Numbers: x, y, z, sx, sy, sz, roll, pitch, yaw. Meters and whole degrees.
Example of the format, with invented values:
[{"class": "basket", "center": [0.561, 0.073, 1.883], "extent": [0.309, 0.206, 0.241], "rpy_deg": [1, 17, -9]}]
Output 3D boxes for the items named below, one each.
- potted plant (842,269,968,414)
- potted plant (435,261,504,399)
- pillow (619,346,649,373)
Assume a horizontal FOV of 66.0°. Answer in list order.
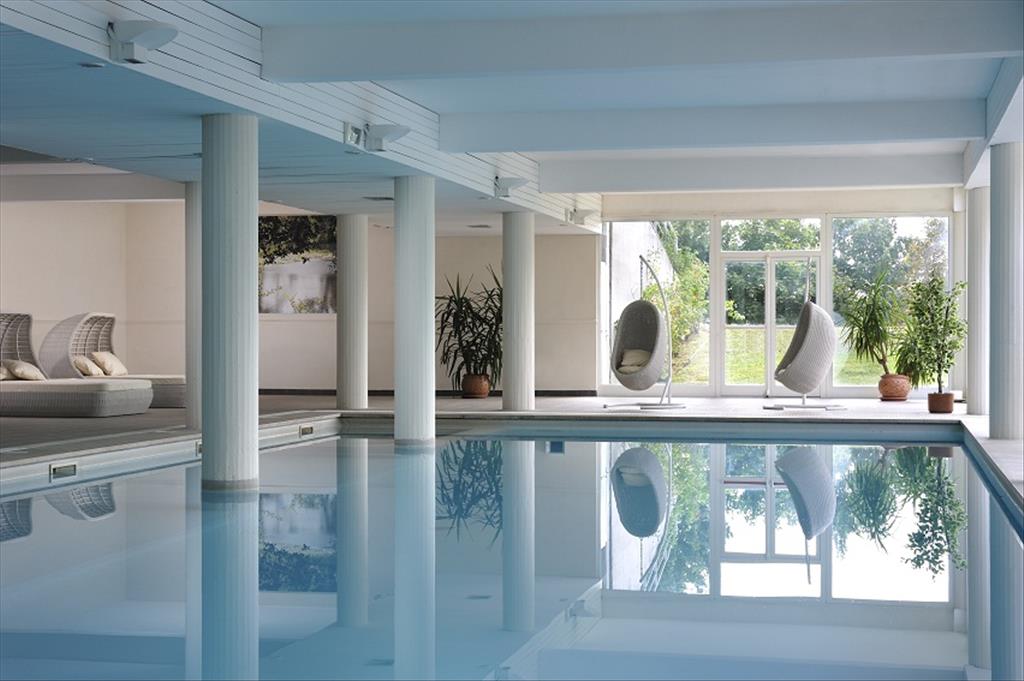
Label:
[{"class": "potted plant", "center": [6.777, -0.054, 13.421], "extent": [1.406, 2.180, 2.252], "rpy_deg": [0, 4, -5]}, {"class": "potted plant", "center": [-0.836, -0.160, 14.984], "extent": [1.239, 2.464, 1.828], "rpy_deg": [0, 4, -5]}, {"class": "pillow", "center": [1.979, 0.300, 12.872], "extent": [0.481, 0.270, 0.629], "rpy_deg": [1, 4, 9]}]
